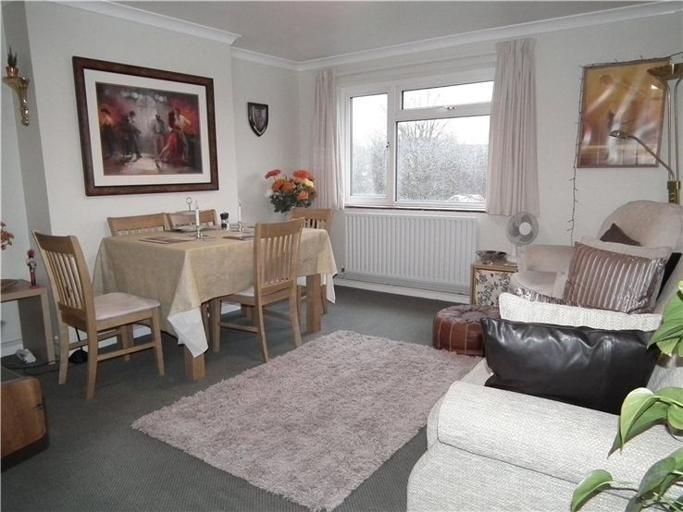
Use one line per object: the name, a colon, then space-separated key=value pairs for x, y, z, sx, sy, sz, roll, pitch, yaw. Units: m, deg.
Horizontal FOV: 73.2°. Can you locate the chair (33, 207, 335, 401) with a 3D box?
chair: x=-1.159 y=0.183 z=3.593 sx=1.066 sy=0.914 sz=1.773 roll=5 pitch=10 yaw=35

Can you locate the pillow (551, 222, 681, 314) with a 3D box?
pillow: x=1.443 y=0.106 z=2.399 sx=0.143 sy=0.466 sz=0.476 roll=19 pitch=0 yaw=-19

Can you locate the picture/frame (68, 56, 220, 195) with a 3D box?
picture/frame: x=-1.757 y=-1.147 z=3.993 sx=0.054 sy=1.137 sz=1.300 roll=9 pitch=13 yaw=40

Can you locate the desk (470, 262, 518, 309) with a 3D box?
desk: x=1.453 y=0.246 z=4.345 sx=0.434 sy=0.436 sz=0.333 roll=6 pitch=22 yaw=29
